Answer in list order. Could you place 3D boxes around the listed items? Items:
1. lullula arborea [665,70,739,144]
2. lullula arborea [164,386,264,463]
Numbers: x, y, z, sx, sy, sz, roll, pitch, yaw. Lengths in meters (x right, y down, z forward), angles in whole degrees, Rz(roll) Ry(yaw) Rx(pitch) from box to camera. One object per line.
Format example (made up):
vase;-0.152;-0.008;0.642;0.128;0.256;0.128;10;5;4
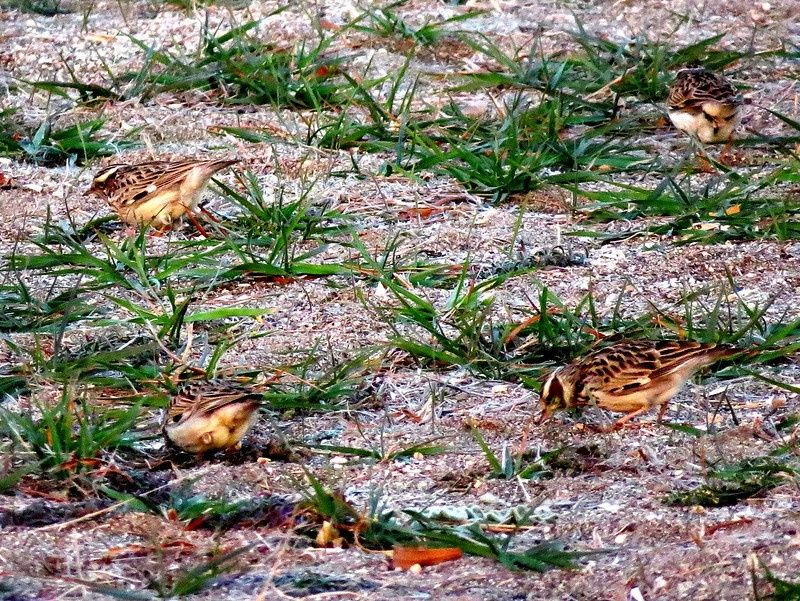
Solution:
lullula arborea;2.553;-1.632;7.113;0.765;0.435;0.772;-1;38;7
lullula arborea;-0.855;0.541;4.008;0.462;0.350;0.311;-1;54;1
